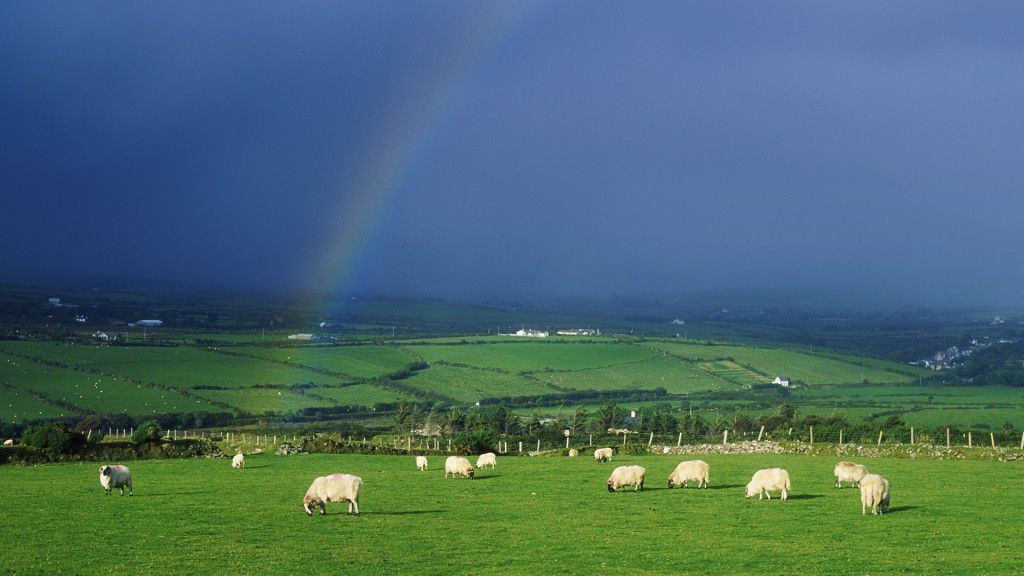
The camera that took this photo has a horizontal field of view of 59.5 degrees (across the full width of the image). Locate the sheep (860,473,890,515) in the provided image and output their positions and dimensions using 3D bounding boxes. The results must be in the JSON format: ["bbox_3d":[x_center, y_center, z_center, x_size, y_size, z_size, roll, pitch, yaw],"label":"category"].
[{"bbox_3d":[27.686,16.341,70.959,2.173,3.169,1.146,2,0,1],"label":"sheep"}]

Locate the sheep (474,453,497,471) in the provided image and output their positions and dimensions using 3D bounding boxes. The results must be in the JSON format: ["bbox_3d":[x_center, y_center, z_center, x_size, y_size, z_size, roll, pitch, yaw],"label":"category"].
[{"bbox_3d":[-2.992,16.601,86.412,1.799,1.580,2.330,2,0,-2],"label":"sheep"}]

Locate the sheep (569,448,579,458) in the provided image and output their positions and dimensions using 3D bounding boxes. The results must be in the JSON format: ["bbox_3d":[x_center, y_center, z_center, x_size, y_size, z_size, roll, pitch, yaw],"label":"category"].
[{"bbox_3d":[5.992,18.161,98.764,0.682,0.379,1.047,0,1,-15],"label":"sheep"}]

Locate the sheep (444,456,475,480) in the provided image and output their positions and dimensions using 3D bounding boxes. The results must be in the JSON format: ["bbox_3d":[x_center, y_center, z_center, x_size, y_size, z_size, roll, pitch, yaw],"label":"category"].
[{"bbox_3d":[-5.335,16.254,81.529,1.707,1.992,2.520,2,0,-34],"label":"sheep"}]

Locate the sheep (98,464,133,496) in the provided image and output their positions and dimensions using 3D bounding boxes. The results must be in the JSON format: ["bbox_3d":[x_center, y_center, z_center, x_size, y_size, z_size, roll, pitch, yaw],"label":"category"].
[{"bbox_3d":[-33.325,16.148,75.875,2.414,2.515,1.995,2,0,-14],"label":"sheep"}]
